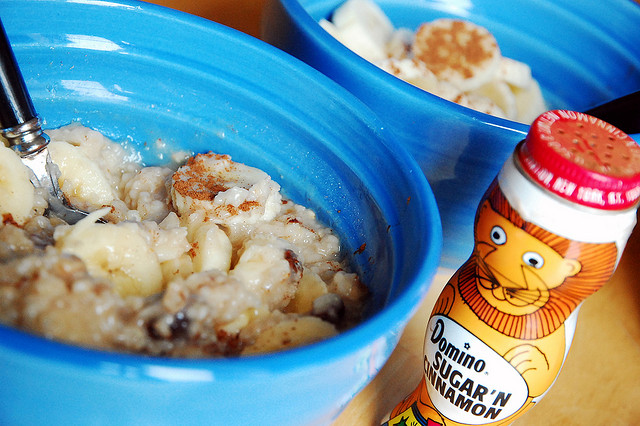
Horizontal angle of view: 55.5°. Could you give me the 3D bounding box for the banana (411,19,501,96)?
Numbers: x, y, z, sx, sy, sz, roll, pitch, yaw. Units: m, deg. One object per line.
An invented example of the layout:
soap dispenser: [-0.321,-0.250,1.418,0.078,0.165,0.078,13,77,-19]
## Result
banana: [0.261,-0.314,1.189,0.166,0.040,0.166,-33,64,-28]

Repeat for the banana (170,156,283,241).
banana: [-0.140,-0.030,0.898,0.138,0.053,0.118,26,30,9]

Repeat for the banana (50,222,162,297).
banana: [-0.263,0.059,0.762,0.127,0.052,0.077,4,50,-14]

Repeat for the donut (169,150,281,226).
donut: [-0.152,-0.034,0.898,0.117,0.040,0.115,19,33,-2]

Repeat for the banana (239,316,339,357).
banana: [-0.038,0.149,0.746,0.113,0.046,0.054,9,48,-10]
